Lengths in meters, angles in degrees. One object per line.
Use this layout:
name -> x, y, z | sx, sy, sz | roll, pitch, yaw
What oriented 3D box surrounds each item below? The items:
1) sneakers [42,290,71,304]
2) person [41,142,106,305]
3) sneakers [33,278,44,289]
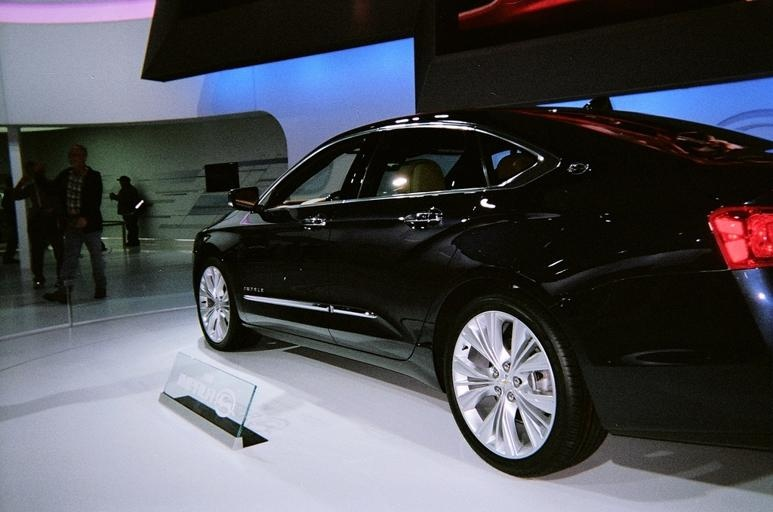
sneakers -> -4.673, 0.585, 6.317 | 0.615, 0.239, 0.207 | 10, 7, 42
person -> -4.334, -0.433, 6.324 | 0.673, 2.205, 0.364 | -3, 8, -12
sneakers -> -6.264, 0.498, 8.032 | 0.230, 0.144, 0.229 | -2, 6, -31
